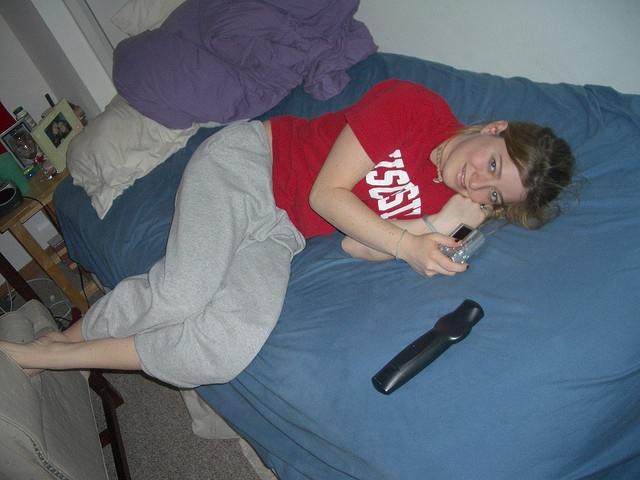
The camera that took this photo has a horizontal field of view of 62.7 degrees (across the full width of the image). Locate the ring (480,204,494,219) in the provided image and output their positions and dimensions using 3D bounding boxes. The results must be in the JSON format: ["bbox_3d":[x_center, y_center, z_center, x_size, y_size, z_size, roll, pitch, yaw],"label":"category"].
[{"bbox_3d":[0.598,-0.106,1.875,0.020,0.055,0.043,-19,68,37],"label":"ring"}]

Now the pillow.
[{"bbox_3d":[-0.845,-0.358,2.377,0.478,0.125,0.458,-44,92,-13],"label":"pillow"}]

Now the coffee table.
[{"bbox_3d":[-1.208,0.009,2.336,0.320,0.476,0.396,-44,87,-12],"label":"coffee table"}]

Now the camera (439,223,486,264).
[{"bbox_3d":[0.471,0.007,1.754,0.151,0.051,0.101,-35,46,-18],"label":"camera"}]

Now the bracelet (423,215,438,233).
[{"bbox_3d":[0.389,-0.053,1.846,0.056,0.060,0.018,4,4,11],"label":"bracelet"}]
